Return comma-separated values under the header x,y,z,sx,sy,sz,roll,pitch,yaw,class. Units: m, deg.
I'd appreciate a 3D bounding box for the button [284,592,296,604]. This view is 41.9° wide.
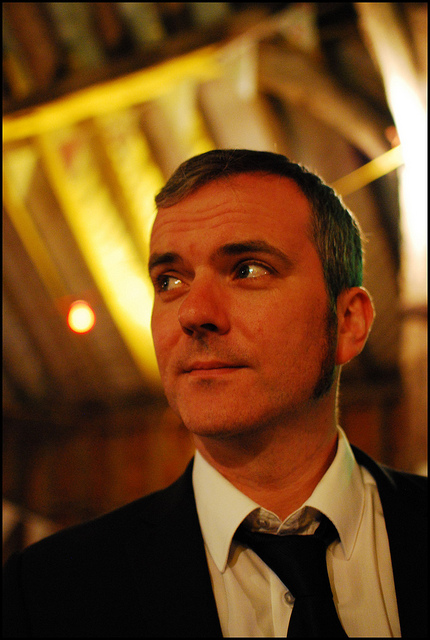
x,y,z,sx,sy,sz,roll,pitch,yaw,class
0.240,0.904,1.832,0.038,0.036,0.040,-5,80,17,button

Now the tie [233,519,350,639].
x,y,z,sx,sy,sz,roll,pitch,yaw,class
0.247,0.865,1.854,0.286,0.197,0.442,2,43,-9,tie

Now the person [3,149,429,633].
x,y,z,sx,sy,sz,roll,pitch,yaw,class
0.043,0.304,2.244,1.495,0.792,1.343,-8,67,15,person
